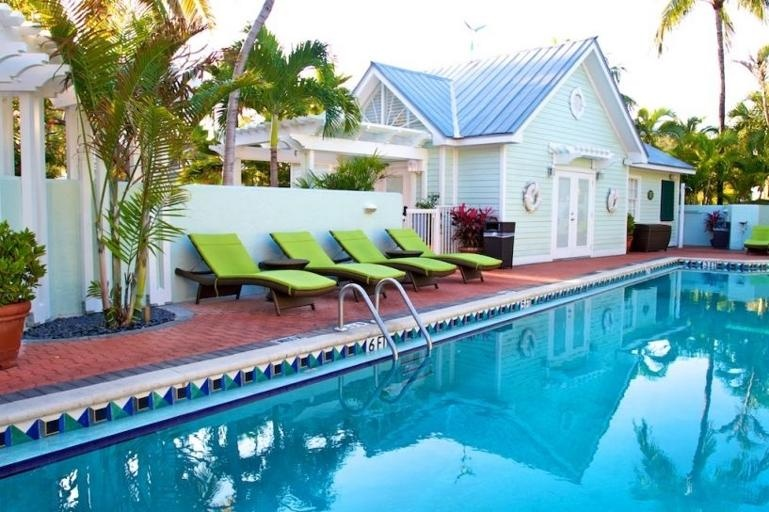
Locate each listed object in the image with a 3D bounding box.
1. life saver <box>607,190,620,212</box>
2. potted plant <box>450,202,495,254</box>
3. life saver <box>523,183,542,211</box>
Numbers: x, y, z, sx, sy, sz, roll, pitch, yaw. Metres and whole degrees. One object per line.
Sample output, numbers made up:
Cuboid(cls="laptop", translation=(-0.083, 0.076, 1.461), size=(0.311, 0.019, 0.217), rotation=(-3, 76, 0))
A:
Cuboid(cls="life saver", translation=(7.817, -1.904, 19.072), size=(0.617, 0.807, 0.164), rotation=(-9, 17, -36))
Cuboid(cls="potted plant", translation=(2.329, -0.748, 15.474), size=(1.416, 1.465, 1.181), rotation=(0, -2, -13))
Cuboid(cls="life saver", translation=(4.246, -1.688, 15.951), size=(0.703, 0.880, 0.192), rotation=(-11, 17, -39))
